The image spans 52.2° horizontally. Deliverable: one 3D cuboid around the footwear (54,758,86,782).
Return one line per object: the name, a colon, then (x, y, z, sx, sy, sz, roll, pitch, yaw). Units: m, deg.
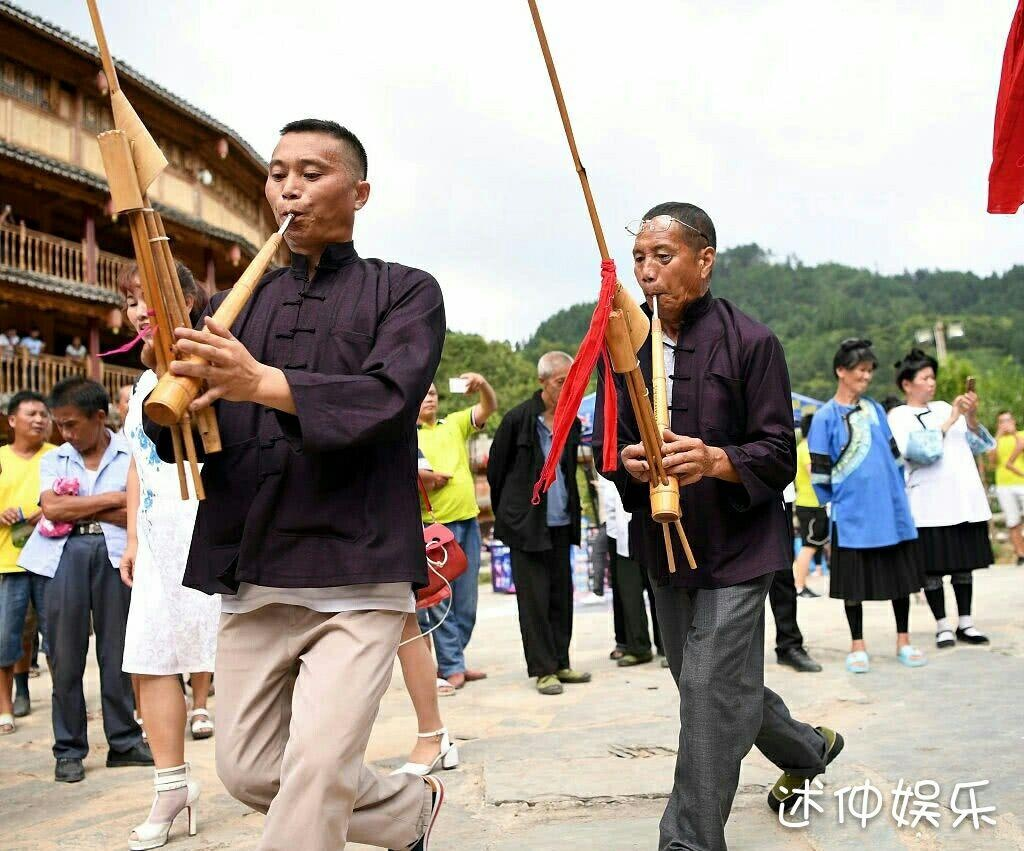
footwear: (-2.042, 1.603, 4.840, 0.129, 0.105, 0.147, 1, -10, -23)

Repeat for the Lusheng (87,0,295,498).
Lusheng: (-0.874, -0.451, 2.876, 0.505, 1.296, 0.710, 0, -9, -18)

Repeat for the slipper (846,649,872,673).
slipper: (2.089, 1.440, 6.339, 0.129, 0.128, 0.172, -6, -9, 18)

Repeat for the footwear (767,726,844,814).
footwear: (1.099, 1.304, 3.917, 0.145, 0.400, 0.131, 44, -12, -32)

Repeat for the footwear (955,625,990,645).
footwear: (3.124, 1.436, 7.088, 0.089, 0.099, 0.250, -6, -6, -8)

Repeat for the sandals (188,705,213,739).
sandals: (-1.678, 1.621, 5.657, 0.098, 0.107, 0.261, -1, -5, -15)

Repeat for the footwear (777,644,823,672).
footwear: (1.807, 1.480, 6.587, 0.104, 0.112, 0.297, -4, 0, -35)

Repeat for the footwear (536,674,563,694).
footwear: (0.234, 1.603, 6.420, 0.154, 0.110, 0.196, -3, -9, 1)

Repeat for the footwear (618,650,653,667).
footwear: (0.885, 1.661, 7.407, 0.283, 0.131, 0.095, 5, -6, -26)
